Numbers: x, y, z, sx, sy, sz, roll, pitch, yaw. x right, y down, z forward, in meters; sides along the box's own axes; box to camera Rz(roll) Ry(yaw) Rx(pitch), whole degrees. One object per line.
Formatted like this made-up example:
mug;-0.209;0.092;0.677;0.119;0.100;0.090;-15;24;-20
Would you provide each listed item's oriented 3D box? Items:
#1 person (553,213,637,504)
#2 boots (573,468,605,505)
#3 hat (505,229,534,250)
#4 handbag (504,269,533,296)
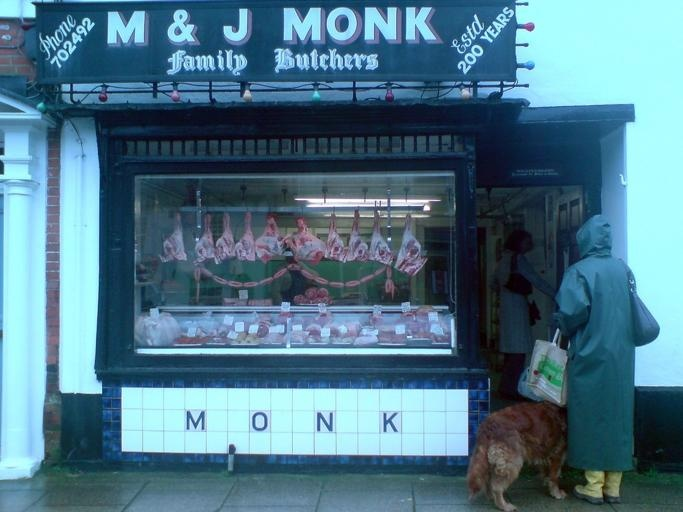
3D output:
person;2.502;0.849;10.384;0.745;2.484;0.280;-1;-3;8
boots;2.363;2.272;10.390;0.186;0.388;0.374;-1;3;-16
hat;2.108;-0.172;12.688;0.328;0.268;0.207;-2;-3;15
handbag;2.112;0.376;12.790;0.427;0.360;0.243;7;-3;-6
